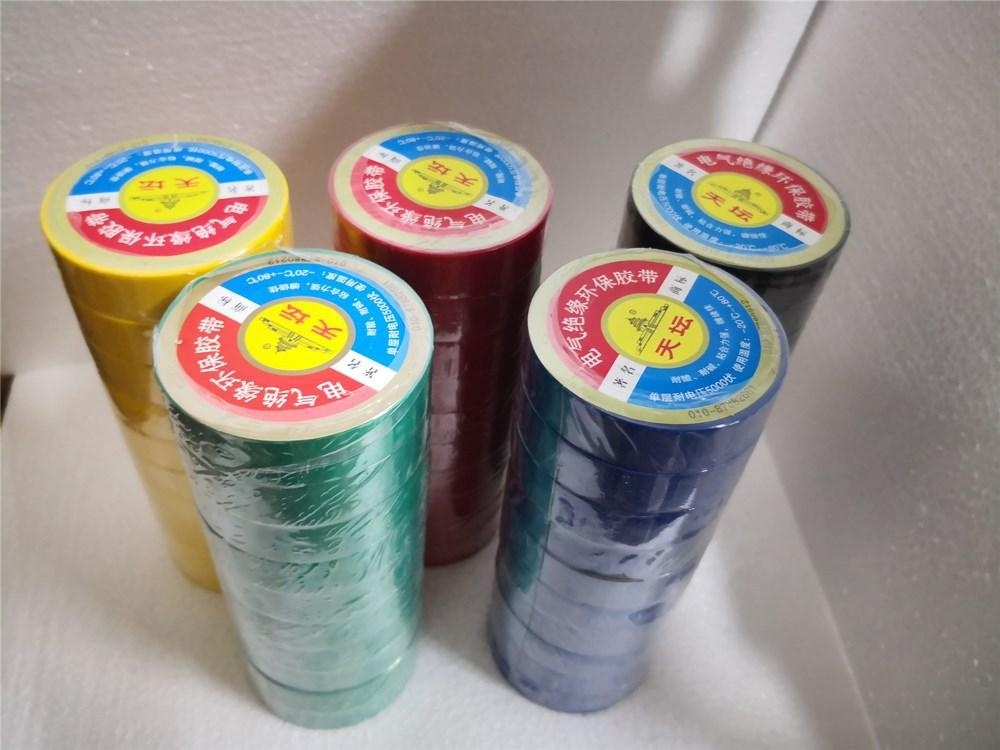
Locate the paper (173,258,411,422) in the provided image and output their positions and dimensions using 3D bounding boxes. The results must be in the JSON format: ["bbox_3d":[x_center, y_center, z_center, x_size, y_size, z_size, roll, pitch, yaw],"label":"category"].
[{"bbox_3d":[-0.264,-0.038,1.067,0.291,0.056,0.227,0,41,-5],"label":"paper"}]

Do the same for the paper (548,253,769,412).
[{"bbox_3d":[0.208,-0.048,1.098,0.219,0.043,0.215,28,52,21],"label":"paper"}]
